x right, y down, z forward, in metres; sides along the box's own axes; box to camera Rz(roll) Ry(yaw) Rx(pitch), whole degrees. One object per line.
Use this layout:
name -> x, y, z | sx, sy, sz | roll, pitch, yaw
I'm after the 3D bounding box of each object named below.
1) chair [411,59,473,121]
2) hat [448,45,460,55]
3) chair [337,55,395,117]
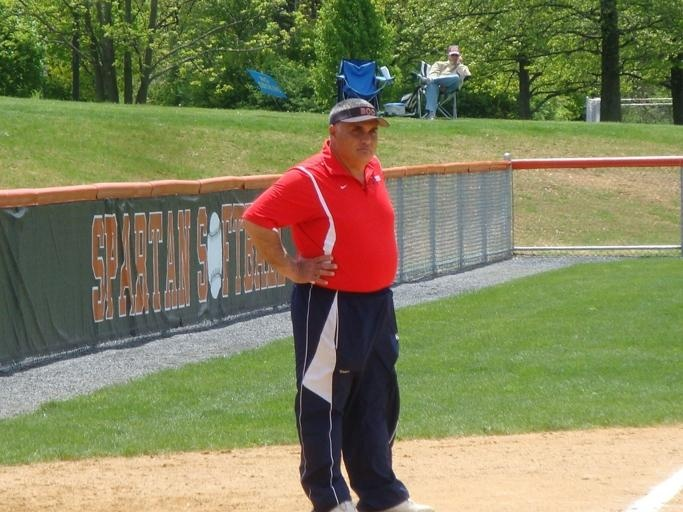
chair -> 3.687, -6.378, 61.863 | 1.286, 3.006, 1.947 | 8, -5, 34
hat -> 4.023, -7.286, 61.489 | 0.480, 0.463, 0.852 | 1, 5, -1
chair -> 0.888, -5.751, 60.212 | 1.982, 2.084, 1.779 | 4, 15, 21
